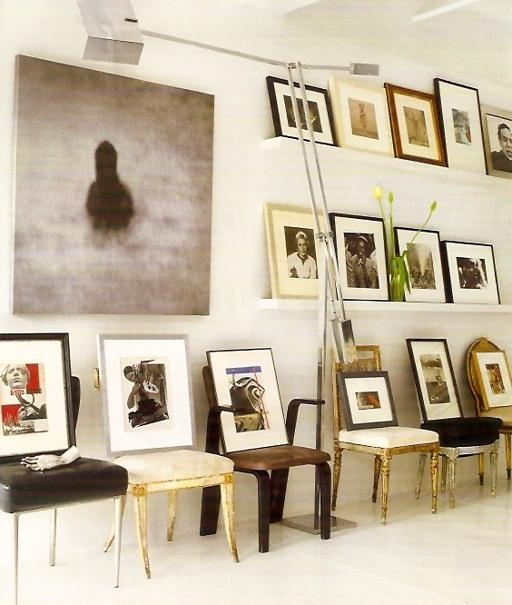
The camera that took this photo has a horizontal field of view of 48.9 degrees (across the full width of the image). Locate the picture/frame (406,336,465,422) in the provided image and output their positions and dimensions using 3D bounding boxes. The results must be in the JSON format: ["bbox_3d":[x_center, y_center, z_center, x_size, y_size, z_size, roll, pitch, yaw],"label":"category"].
[{"bbox_3d":[1.420,0.628,4.571,0.581,0.783,0.046,11,-25,-44],"label":"picture/frame"}]

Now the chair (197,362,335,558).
[{"bbox_3d":[0.061,0.859,3.272,0.607,1.056,0.619,1,-5,-26],"label":"chair"}]

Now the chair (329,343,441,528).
[{"bbox_3d":[0.867,0.851,3.881,0.518,1.160,0.640,2,-5,-26],"label":"chair"}]

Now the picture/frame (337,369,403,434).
[{"bbox_3d":[0.756,0.680,3.875,0.441,0.423,0.045,8,-23,-40],"label":"picture/frame"}]

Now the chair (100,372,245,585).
[{"bbox_3d":[-0.366,1.067,2.851,0.582,0.601,0.601,-4,-16,-13],"label":"chair"}]

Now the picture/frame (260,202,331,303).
[{"bbox_3d":[0.244,-0.332,3.806,0.028,0.771,0.600,-12,-12,42],"label":"picture/frame"}]

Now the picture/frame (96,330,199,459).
[{"bbox_3d":[-0.589,0.495,2.971,0.592,0.774,0.028,5,-18,-38],"label":"picture/frame"}]

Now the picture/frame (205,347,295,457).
[{"bbox_3d":[-0.057,0.601,3.352,0.054,0.720,0.560,-24,-24,39],"label":"picture/frame"}]

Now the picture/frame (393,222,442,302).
[{"bbox_3d":[1.313,-0.325,4.674,0.547,0.715,0.065,8,-14,-40],"label":"picture/frame"}]

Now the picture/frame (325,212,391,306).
[{"bbox_3d":[0.731,-0.319,4.135,0.616,0.807,0.054,6,-13,-44],"label":"picture/frame"}]
